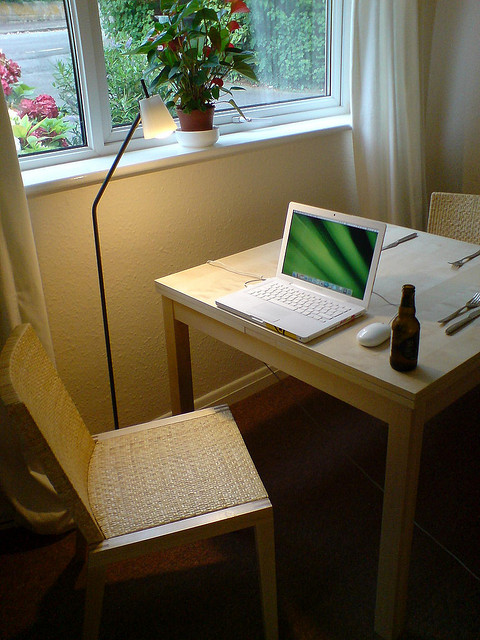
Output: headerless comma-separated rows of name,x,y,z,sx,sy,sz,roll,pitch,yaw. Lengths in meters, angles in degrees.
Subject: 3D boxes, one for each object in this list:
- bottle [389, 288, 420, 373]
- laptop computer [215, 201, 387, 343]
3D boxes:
bottle,0.292,0.009,0.829,0.049,0.172,0.057,5,31,18
laptop computer,0.129,-0.122,1.095,0.285,0.199,0.304,-25,36,-31
